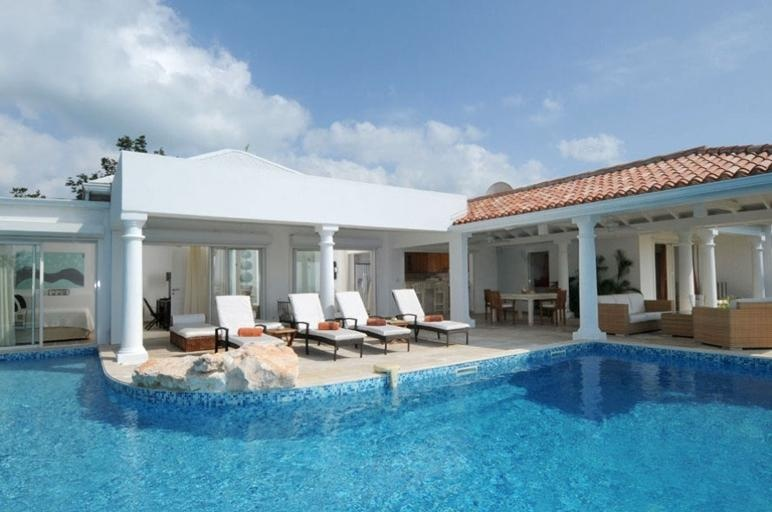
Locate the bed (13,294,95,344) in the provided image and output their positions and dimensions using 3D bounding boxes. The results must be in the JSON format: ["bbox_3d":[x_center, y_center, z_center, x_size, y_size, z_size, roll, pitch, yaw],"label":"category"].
[{"bbox_3d":[-9.671,1.833,15.297,1.021,1.509,1.973,-3,-3,8],"label":"bed"}]

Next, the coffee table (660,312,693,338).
[{"bbox_3d":[8.333,2.020,14.881,0.328,0.716,0.878,0,-4,-42],"label":"coffee table"}]

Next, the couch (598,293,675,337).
[{"bbox_3d":[8.019,1.784,16.179,3.042,1.205,1.657,0,-4,-42],"label":"couch"}]
